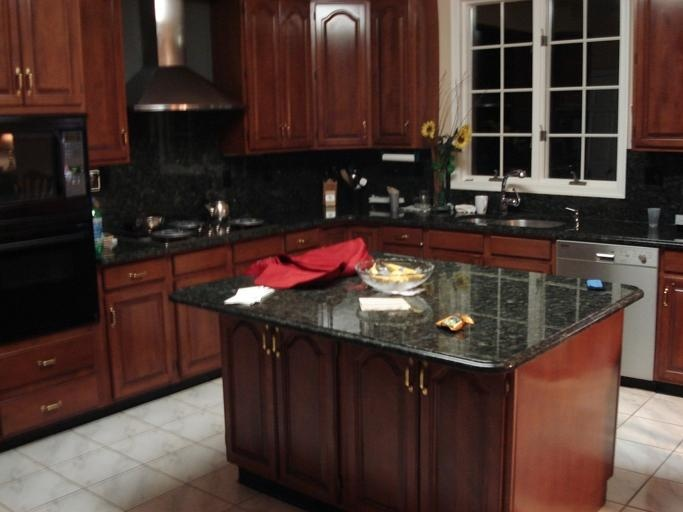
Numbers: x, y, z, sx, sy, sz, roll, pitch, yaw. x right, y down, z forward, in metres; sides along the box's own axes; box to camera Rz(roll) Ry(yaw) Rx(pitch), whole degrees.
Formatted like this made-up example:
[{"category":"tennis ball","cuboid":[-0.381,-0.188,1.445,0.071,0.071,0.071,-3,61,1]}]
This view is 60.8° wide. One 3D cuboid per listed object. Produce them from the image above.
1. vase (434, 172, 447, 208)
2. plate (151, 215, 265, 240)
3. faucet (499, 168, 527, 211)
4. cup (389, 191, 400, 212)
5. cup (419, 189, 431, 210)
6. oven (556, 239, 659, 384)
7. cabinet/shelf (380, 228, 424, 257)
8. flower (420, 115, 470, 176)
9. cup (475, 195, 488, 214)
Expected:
[{"category":"vase","cuboid":[0.902,-0.614,5.292,0.120,0.312,0.315,1,14,10]},{"category":"plate","cuboid":[-1.032,-0.230,4.566,0.870,0.053,0.656,-6,15,-19]},{"category":"faucet","cuboid":[1.473,-0.560,5.020,0.206,0.369,0.288,2,14,15]},{"category":"cup","cuboid":[0.465,-0.477,5.146,0.064,0.178,0.101,-2,14,-3]},{"category":"cup","cuboid":[0.761,-0.504,5.279,0.099,0.176,0.108,-1,14,0]},{"category":"oven","cuboid":[1.997,0.509,4.440,0.704,1.312,0.783,8,-1,18]},{"category":"cabinet/shelf","cuboid":[0.526,-0.124,5.012,0.335,0.234,0.318,1,5,18]},{"category":"flower","cuboid":[0.905,-0.969,5.231,0.455,0.579,0.526,6,11,28]},{"category":"cup","cuboid":[1.213,-0.442,5.074,0.091,0.154,0.114,0,14,6]}]
